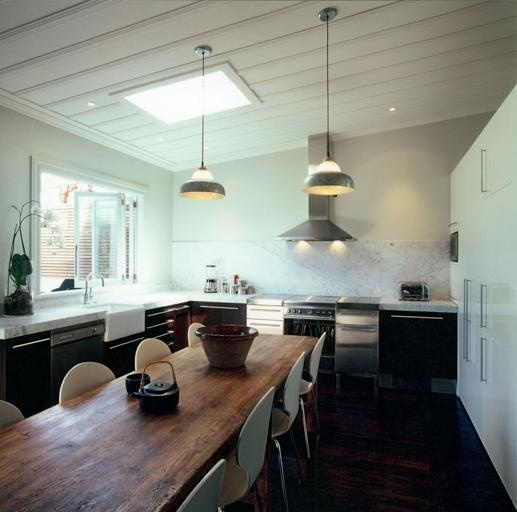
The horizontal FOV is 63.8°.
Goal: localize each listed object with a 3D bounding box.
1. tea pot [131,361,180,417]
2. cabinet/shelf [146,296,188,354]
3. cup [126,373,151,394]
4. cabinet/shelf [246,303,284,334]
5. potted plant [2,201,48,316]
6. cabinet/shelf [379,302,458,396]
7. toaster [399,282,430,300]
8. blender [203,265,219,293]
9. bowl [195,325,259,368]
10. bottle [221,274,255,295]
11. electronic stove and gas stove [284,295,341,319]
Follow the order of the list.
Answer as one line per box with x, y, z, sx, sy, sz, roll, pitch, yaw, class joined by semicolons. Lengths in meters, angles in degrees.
-0.494;0.618;1.947;0.231;0.209;0.167;1;-2;-42;tea pot
-1.014;0.759;4.673;0.427;0.622;0.668;-2;-1;17;cabinet/shelf
-0.629;0.646;2.135;0.091;0.066;0.106;1;-2;8;cup
0.082;0.651;4.677;0.405;0.387;0.298;-2;-6;24;cabinet/shelf
-2.041;-0.011;3.577;0.230;0.955;0.573;1;4;-17;potted plant
1.644;0.896;4.408;0.771;0.889;0.689;0;6;13;cabinet/shelf
1.654;0.306;4.409;0.301;0.212;0.175;0;-1;25;toaster
-0.630;0.296;5.512;0.174;0.352;0.367;2;4;-8;blender
-0.196;0.561;2.588;0.390;0.215;0.393;1;2;0;bowl
-0.293;0.378;5.310;0.505;0.246;0.399;3;4;7;bottle
0.564;0.567;4.511;0.566;0.238;0.365;3;4;12;electronic stove and gas stove
